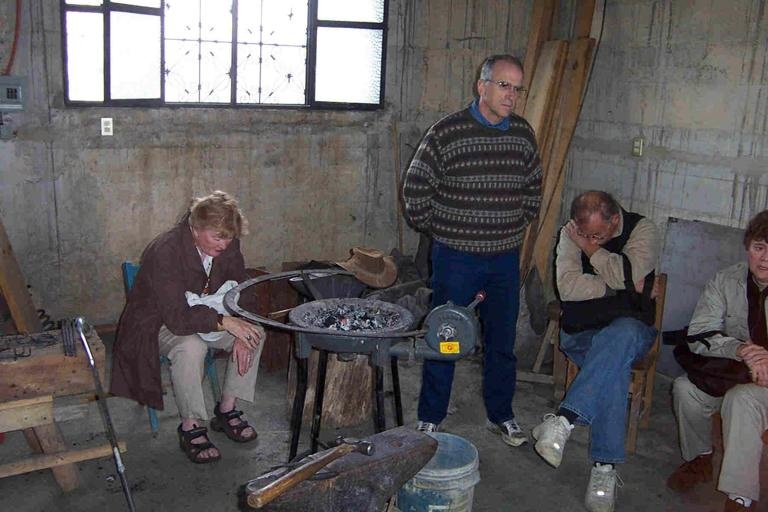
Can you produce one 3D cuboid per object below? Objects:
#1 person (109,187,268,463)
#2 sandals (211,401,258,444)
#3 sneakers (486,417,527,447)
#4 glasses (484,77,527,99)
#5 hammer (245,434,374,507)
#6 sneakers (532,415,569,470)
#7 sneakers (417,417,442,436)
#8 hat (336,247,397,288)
[{"bbox_3d":[-1.392,0.488,4.241,1.047,1.876,0.573,-1,12,-13],"label":"person"},{"bbox_3d":[-1.118,1.262,4.562,0.454,0.227,0.172,17,14,30],"label":"sandals"},{"bbox_3d":[0.937,1.308,4.548,0.140,0.149,0.323,2,12,-45],"label":"sneakers"},{"bbox_3d":[0.803,-1.130,3.999,0.257,0.099,0.111,1,11,-5],"label":"glasses"},{"bbox_3d":[-0.335,0.954,2.711,0.260,0.090,0.626,19,20,40],"label":"hammer"},{"bbox_3d":[1.099,1.209,3.966,0.238,0.305,0.292,7,12,24],"label":"sneakers"},{"bbox_3d":[0.312,1.190,4.169,0.129,0.150,0.364,3,-15,9],"label":"sneakers"},{"bbox_3d":[-0.135,0.091,5.572,0.424,0.165,0.420,-5,33,-39],"label":"hat"}]
